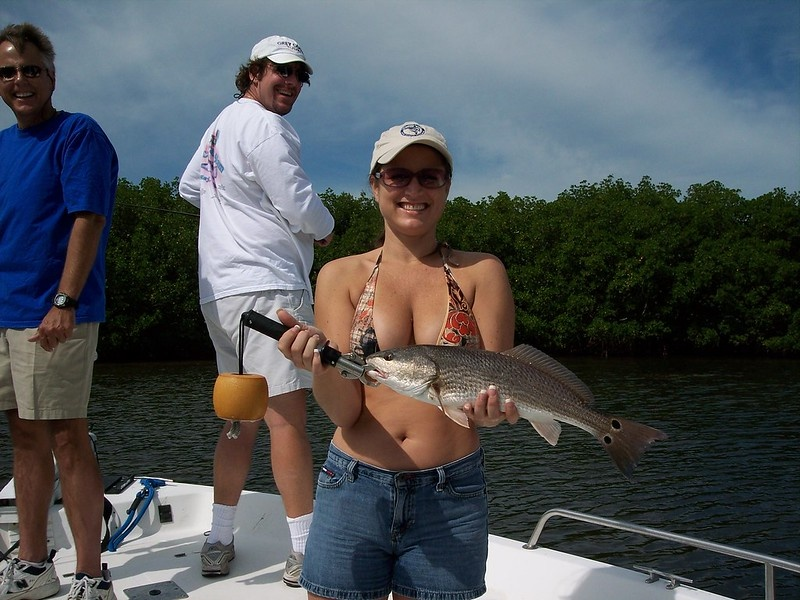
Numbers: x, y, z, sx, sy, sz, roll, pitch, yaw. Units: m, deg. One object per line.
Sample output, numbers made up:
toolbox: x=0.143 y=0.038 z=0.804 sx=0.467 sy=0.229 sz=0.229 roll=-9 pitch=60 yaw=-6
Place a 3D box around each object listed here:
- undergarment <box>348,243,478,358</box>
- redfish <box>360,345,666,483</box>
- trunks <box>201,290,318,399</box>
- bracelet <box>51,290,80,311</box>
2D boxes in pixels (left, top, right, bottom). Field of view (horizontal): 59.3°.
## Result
undergarment: x=0.054 y=0.093 z=3.728 sx=0.705 sy=0.679 sz=0.384 roll=0 pitch=-12 yaw=-1
redfish: x=0.526 y=0.521 z=3.325 sx=1.372 sy=0.612 sz=0.220 roll=0 pitch=1 yaw=-2
trunks: x=-1.002 y=0.219 z=5.012 sx=0.631 sy=0.868 sz=1.125 roll=-7 pitch=7 yaw=-43
bracelet: x=-2.014 y=0.018 z=4.267 sx=0.129 sy=0.090 sz=0.122 roll=20 pitch=0 yaw=28
